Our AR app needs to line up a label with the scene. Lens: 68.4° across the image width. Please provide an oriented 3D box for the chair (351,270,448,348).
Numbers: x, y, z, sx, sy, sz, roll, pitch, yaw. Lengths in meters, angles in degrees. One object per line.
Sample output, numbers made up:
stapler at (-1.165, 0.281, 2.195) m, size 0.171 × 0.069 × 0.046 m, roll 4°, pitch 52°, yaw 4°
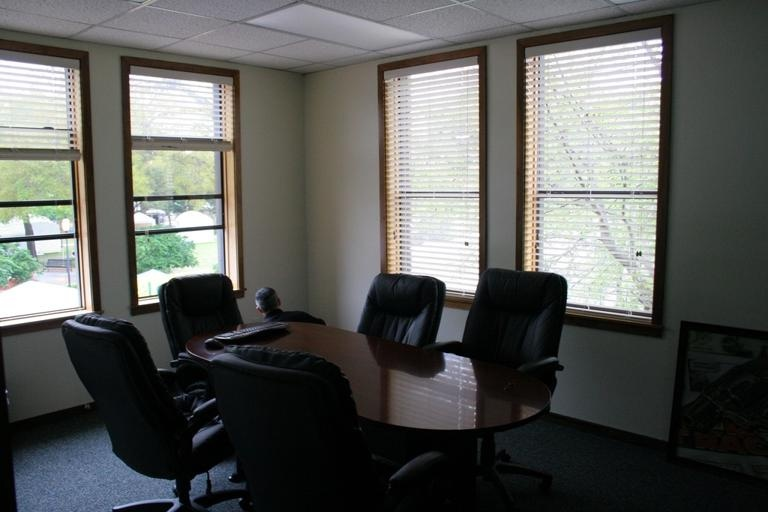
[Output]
chair at (0.267, 0.468, 5.102) m, size 0.573 × 0.772 × 0.702 m, roll 1°, pitch -8°, yaw 33°
